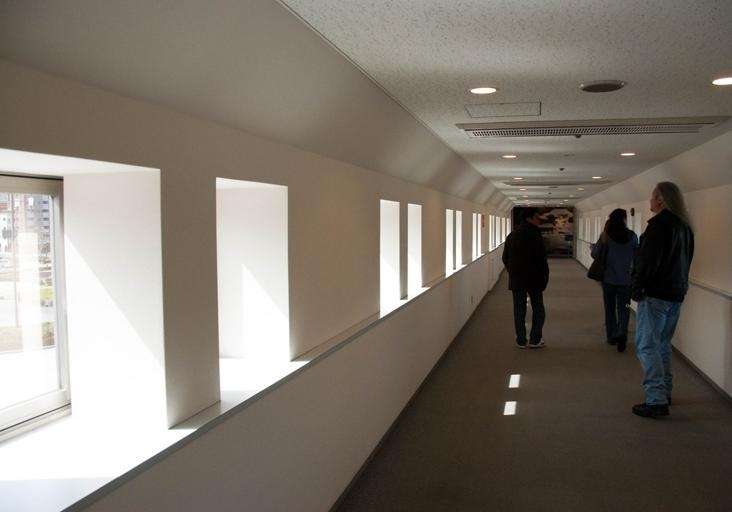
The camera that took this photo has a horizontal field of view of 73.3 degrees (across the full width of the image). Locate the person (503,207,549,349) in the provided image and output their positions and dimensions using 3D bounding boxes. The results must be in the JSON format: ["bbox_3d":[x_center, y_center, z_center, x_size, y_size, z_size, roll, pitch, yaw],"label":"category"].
[{"bbox_3d":[2.384,0.310,7.395,0.620,2.049,0.658,1,5,16],"label":"person"}]

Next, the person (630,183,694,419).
[{"bbox_3d":[2.856,0.424,4.741,0.616,2.258,0.380,-5,7,-43],"label":"person"}]

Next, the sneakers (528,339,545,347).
[{"bbox_3d":[2.556,1.297,7.282,0.270,0.117,0.100,-2,-1,-10],"label":"sneakers"}]
